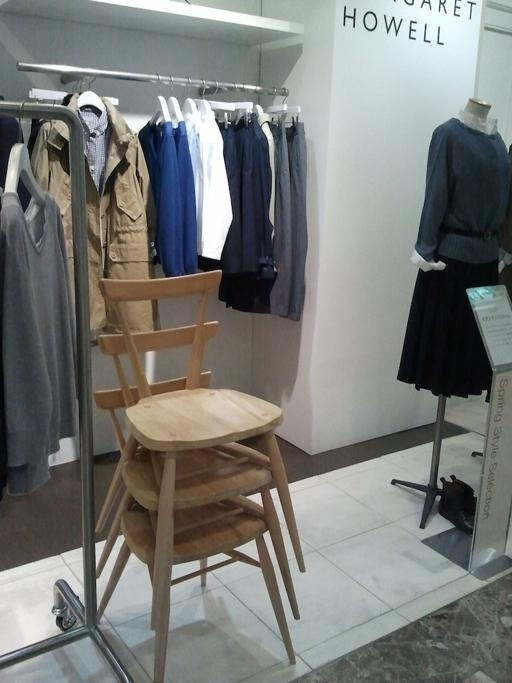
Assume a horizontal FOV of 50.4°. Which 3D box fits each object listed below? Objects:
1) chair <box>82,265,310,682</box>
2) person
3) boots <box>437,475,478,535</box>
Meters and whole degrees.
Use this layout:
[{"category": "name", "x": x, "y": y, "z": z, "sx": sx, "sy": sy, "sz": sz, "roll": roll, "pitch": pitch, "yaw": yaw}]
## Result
[{"category": "chair", "x": -0.190, "y": 0.333, "z": 1.531, "sx": 0.513, "sy": 1.043, "sz": 0.858, "roll": -2, "pitch": 9, "yaw": -19}, {"category": "person", "x": 0.794, "y": -0.339, "z": 2.130, "sx": 0.396, "sy": 1.140, "sz": 0.184, "roll": 0, "pitch": 8, "yaw": -6}, {"category": "boots", "x": 0.831, "y": 0.687, "z": 2.258, "sx": 0.107, "sy": 0.096, "sz": 0.202, "roll": -17, "pitch": 28, "yaw": -21}]
